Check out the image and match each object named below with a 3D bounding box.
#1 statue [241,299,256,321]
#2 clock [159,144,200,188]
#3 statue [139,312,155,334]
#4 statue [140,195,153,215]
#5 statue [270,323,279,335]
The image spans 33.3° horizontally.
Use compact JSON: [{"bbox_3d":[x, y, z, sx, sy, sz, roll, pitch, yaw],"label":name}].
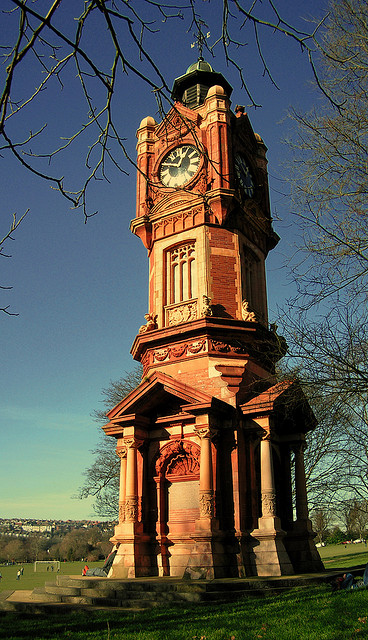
[{"bbox_3d":[2.259,-0.368,21.932,0.425,1.029,0.575,-2,-21,-6],"label":"statue"},{"bbox_3d":[-0.188,-6.230,25.103,1.868,1.988,0.441,-17,-24,30],"label":"clock"},{"bbox_3d":[-1.197,0.179,20.915,0.421,0.723,0.378,10,-45,-3],"label":"statue"},{"bbox_3d":[-1.520,-4.702,25.164,0.539,0.896,0.189,-14,-23,22],"label":"statue"},{"bbox_3d":[2.184,0.212,14.955,0.129,0.312,0.496,10,3,0],"label":"statue"}]
